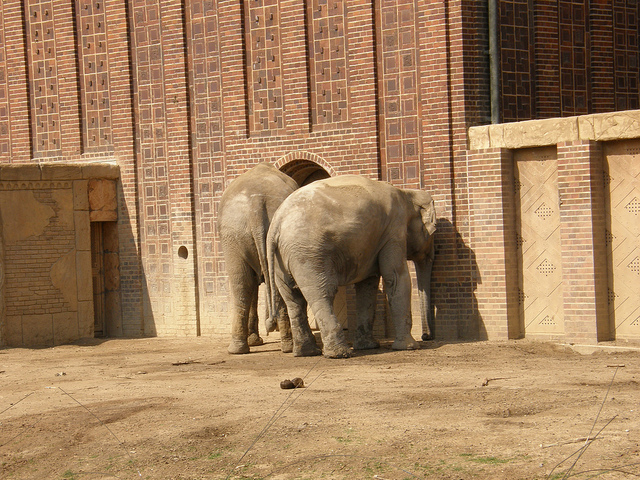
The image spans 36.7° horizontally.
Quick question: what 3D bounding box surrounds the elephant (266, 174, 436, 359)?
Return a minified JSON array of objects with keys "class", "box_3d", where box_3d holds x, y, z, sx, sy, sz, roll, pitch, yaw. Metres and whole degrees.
[{"class":"elephant","box_3d":[0.664,0.341,14.625,3.110,2.848,1.491,-4,4,-35]}]
